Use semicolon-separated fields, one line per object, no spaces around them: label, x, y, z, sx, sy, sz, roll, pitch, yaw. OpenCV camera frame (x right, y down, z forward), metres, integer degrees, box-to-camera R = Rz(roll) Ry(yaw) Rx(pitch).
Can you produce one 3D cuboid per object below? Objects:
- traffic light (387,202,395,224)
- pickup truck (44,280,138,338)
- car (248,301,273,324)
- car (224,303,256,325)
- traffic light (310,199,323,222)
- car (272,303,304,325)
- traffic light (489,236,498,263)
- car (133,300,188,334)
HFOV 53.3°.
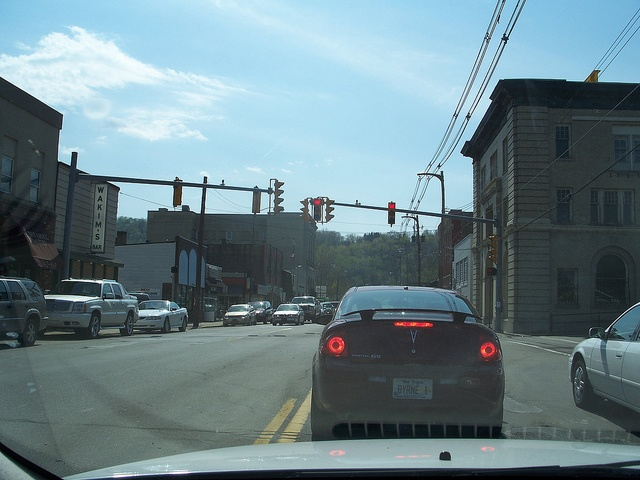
traffic light;3.333;-1.194;29.508;0.371;1.070;0.782;2;-6;1
pickup truck;-8.221;2.408;22.742;1.499;1.254;2.811;-2;-12;15
car;-4.574;5.586;49.600;1.092;0.971;2.474;-1;-10;9
car;-5.447;5.083;43.037;2.049;1.405;2.953;3;-7;-9
traffic light;-0.118;-1.288;27.971;0.528;1.084;0.690;6;-7;-34
car;-2.199;5.152;44.116;2.064;1.407;2.798;2;-7;0
traffic light;8.814;0.387;32.318;0.349;1.478;2.296;0;-7;16
car;-7.095;3.435;28.687;1.119;0.762;2.358;-2;-11;12
